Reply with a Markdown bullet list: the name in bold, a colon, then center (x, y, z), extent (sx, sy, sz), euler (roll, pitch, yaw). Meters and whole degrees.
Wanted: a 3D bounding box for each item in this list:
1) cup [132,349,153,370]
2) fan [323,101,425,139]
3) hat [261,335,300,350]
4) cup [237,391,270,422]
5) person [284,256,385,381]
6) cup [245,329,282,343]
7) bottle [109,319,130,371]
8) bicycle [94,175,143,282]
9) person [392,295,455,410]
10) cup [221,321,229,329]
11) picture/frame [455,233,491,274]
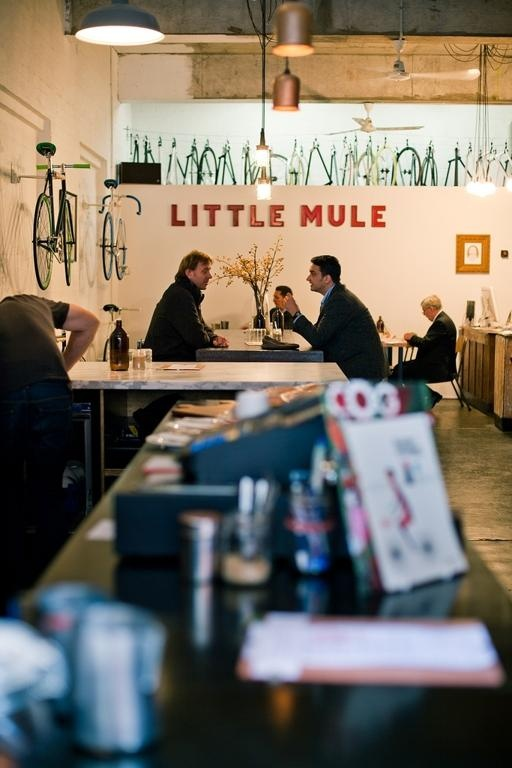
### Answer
- **cup**: center (-0.651, -0.145, 3.695), extent (0.089, 0.111, 0.325), euler (-1, 9, -3)
- **fan**: center (1.842, -3.944, 9.810), extent (1.219, 0.431, 0.860), euler (-1, 13, 4)
- **hat**: center (0.182, -0.295, 4.924), extent (0.198, 0.083, 0.124), euler (-1, 2, 3)
- **cup**: center (-0.007, 0.040, 1.180), extent (0.056, 0.058, 0.101), euler (0, -3, -3)
- **person**: center (0.602, -0.503, 5.067), extent (0.764, 0.955, 0.702), euler (-9, 12, -43)
- **cup**: center (0.028, -0.375, 5.259), extent (0.191, 0.081, 0.154), euler (2, 1, 5)
- **bottle**: center (-0.738, -0.209, 3.519), extent (0.105, 0.284, 0.346), euler (-2, 9, -13)
- **bicycle**: center (-1.673, -1.951, 8.125), extent (0.517, 1.338, 1.801), euler (-2, 9, -9)
- **person**: center (1.955, -0.362, 7.483), extent (0.658, 1.206, 1.302), euler (3, 10, 20)
- **cup**: center (-0.419, -0.805, 8.980), extent (0.114, 0.133, 0.114), euler (2, 3, 0)
- **picture/frame**: center (3.003, -1.821, 9.047), extent (0.508, 0.639, 0.044), euler (0, 3, -3)
